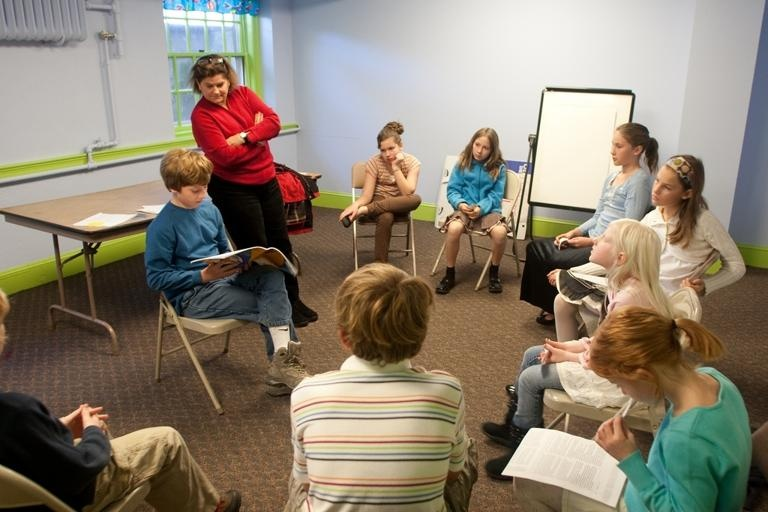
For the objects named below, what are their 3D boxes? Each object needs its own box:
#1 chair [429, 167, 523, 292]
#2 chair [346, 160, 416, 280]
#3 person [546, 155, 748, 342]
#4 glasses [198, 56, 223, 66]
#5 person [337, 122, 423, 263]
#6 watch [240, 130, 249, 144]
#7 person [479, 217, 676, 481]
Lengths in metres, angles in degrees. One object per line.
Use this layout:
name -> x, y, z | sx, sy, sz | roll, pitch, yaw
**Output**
chair -> 1.032, -0.239, 5.134 | 0.734, 1.027, 0.801 | -8, 15, -4
chair -> 0.004, -0.452, 5.928 | 0.700, 1.203, 0.920 | 2, 12, 9
person -> 1.811, 0.133, 3.510 | 1.002, 1.439, 0.742 | -6, 22, 15
glasses -> -1.238, -1.387, 3.731 | 0.124, 0.039, 0.127 | -4, 2, -16
person -> -0.010, -0.622, 5.307 | 0.777, 1.245, 0.623 | 4, 20, 9
watch -> -1.046, -0.892, 3.942 | 0.057, 0.088, 0.091 | 4, 10, -2
person -> 1.082, 0.474, 2.937 | 0.971, 1.435, 0.602 | 9, 23, 25
